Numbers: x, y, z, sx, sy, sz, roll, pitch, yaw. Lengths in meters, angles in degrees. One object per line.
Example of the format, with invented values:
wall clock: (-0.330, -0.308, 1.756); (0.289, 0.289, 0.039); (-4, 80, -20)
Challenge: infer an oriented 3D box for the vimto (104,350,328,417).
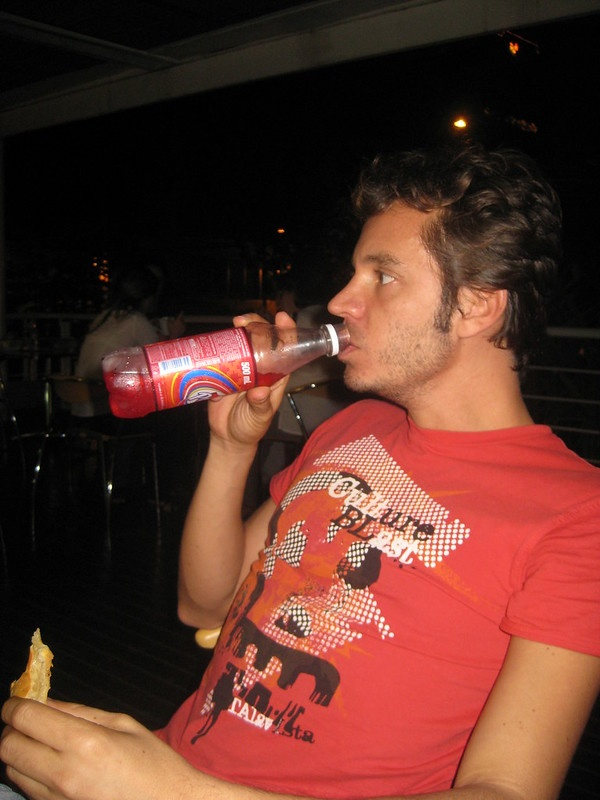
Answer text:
vimto: (-0.163, -0.036, 1.595); (0.340, 0.109, 0.115); (-6, 0, 7)
